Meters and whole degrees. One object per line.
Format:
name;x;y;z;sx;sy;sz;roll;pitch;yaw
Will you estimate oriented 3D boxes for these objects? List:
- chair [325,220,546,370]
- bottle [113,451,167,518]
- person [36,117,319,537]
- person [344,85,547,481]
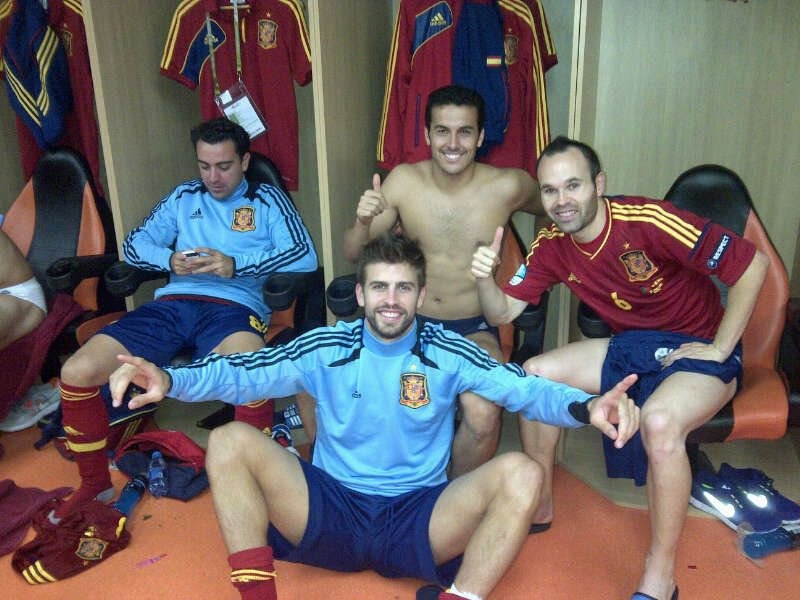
chair;0.213;0.084;2.885;0.686;0.978;0.736;6;-8;14
bottle;-1.087;0.780;2.656;0.143;0.079;0.236;20;35;-13
person;-0.901;0.043;2.828;0.879;1.652;1.195;5;12;7
person;0.298;0.030;2.821;0.929;1.858;0.867;-8;18;-28
